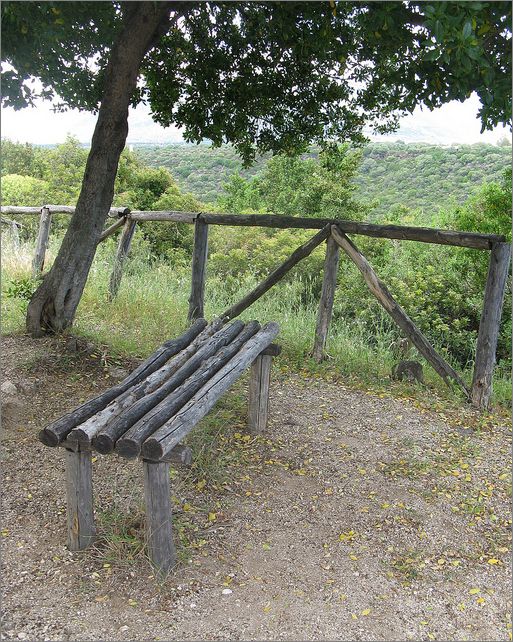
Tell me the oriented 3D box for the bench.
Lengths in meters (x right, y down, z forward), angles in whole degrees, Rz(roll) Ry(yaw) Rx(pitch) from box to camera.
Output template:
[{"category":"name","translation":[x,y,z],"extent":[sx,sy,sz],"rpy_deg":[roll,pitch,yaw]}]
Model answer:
[{"category":"bench","translation":[-0.484,0.650,3.551],"extent":[0.748,1.116,1.954],"rpy_deg":[8,10,16]}]
